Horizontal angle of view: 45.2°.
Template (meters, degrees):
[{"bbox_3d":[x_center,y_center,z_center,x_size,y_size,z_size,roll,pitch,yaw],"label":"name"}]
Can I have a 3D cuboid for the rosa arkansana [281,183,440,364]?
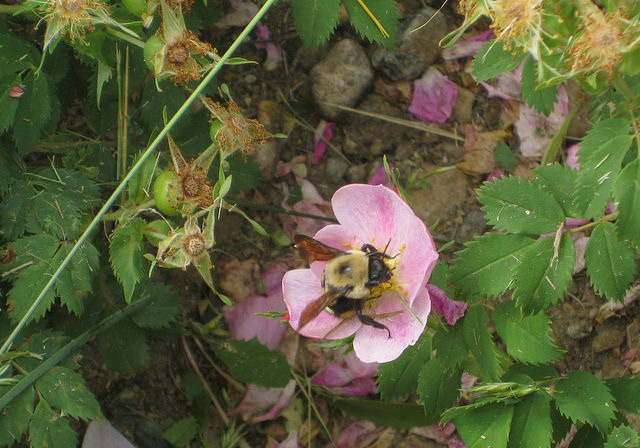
[{"bbox_3d":[0.171,0.162,2.587,0.501,0.623,0.306,27,22,25],"label":"rosa arkansana"}]

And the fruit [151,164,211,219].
[{"bbox_3d":[-0.480,-0.092,2.649,0.166,0.134,0.172,-13,86,-23],"label":"fruit"}]

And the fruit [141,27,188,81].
[{"bbox_3d":[-0.519,-0.564,2.548,0.123,0.154,0.087,-18,18,-16],"label":"fruit"}]

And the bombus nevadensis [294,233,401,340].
[{"bbox_3d":[0.089,0.221,2.597,0.317,0.220,0.249,7,46,-9],"label":"bombus nevadensis"}]

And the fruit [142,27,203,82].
[{"bbox_3d":[-0.488,-0.550,2.506,0.153,0.182,0.078,23,7,-12],"label":"fruit"}]
